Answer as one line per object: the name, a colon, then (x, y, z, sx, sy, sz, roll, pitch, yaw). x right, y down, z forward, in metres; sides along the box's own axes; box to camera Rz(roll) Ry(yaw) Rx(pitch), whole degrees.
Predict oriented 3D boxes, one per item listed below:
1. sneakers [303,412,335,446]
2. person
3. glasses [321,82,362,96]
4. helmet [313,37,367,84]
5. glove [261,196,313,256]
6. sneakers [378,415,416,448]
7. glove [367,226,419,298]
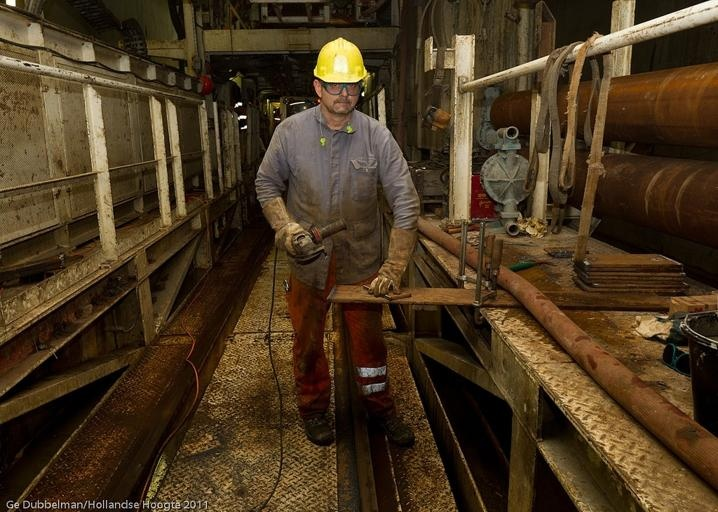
sneakers: (-0.319, 1.288, 3.579, 0.167, 0.199, 0.423, 1, -2, -22)
person: (-0.136, -0.019, 3.296, 1.100, 2.819, 0.714, 1, 16, 5)
glasses: (-0.112, -1.068, 3.028, 0.258, 0.073, 0.118, -2, 17, -6)
helmet: (-0.117, -1.285, 3.101, 0.311, 0.303, 0.387, 1, 17, 4)
glove: (-0.495, -0.187, 3.131, 0.184, 0.194, 0.484, -4, 46, -32)
sneakers: (0.279, 1.280, 3.519, 0.122, 0.161, 0.343, -8, 6, -20)
glove: (0.200, 0.022, 3.018, 0.191, 0.359, 0.467, 7, 18, 23)
